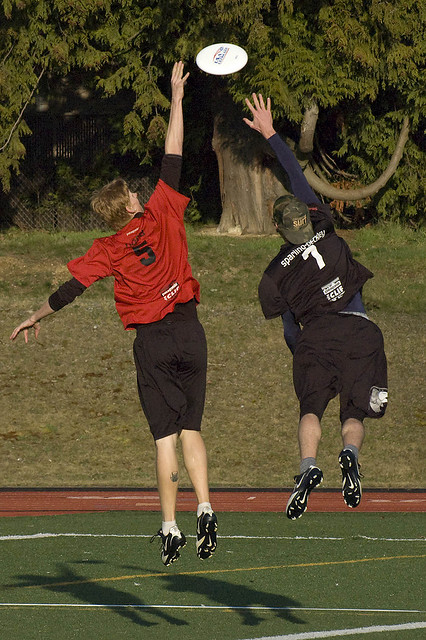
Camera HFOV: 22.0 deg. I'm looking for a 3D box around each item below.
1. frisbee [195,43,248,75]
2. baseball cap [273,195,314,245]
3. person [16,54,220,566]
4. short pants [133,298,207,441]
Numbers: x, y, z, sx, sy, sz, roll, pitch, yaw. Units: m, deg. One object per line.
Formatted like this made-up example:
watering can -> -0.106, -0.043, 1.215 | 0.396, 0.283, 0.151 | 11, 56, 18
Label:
frisbee -> 0.047, -2.018, 8.542 | 0.325, 0.014, 0.328 | 5, 53, 8
baseball cap -> 0.509, -0.643, 7.048 | 0.214, 0.329, 0.283 | 0, 0, -25
person -> -0.316, -0.034, 6.852 | 0.993, 2.975, 0.643 | -1, 0, 35
short pants -> -0.264, 0.311, 6.825 | 0.431, 0.844, 0.201 | 0, 0, -8
